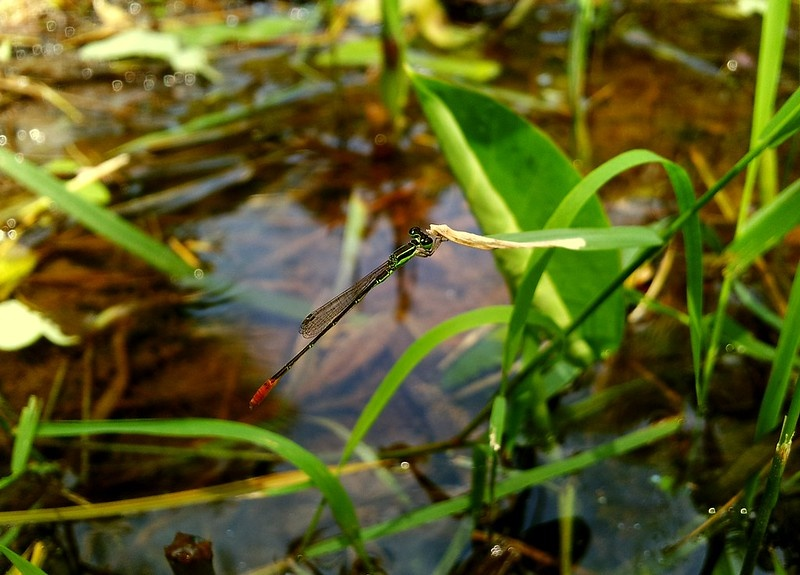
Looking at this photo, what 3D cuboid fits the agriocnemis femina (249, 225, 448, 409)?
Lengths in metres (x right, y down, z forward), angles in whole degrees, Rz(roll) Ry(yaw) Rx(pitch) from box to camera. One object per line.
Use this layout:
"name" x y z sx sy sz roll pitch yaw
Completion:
"agriocnemis femina" -0.129 0.091 1.860 0.595 0.137 0.087 -40 95 -27
